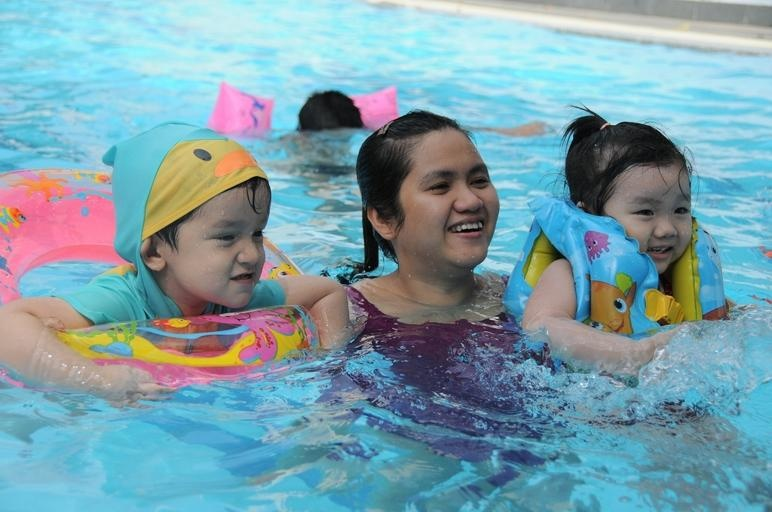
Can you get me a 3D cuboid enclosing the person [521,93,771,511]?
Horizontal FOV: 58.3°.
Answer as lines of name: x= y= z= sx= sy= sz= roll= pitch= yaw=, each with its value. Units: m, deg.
person: x=1.164 y=0.006 z=3.242 sx=0.962 sy=1.232 sz=1.524 roll=6 pitch=19 yaw=10
